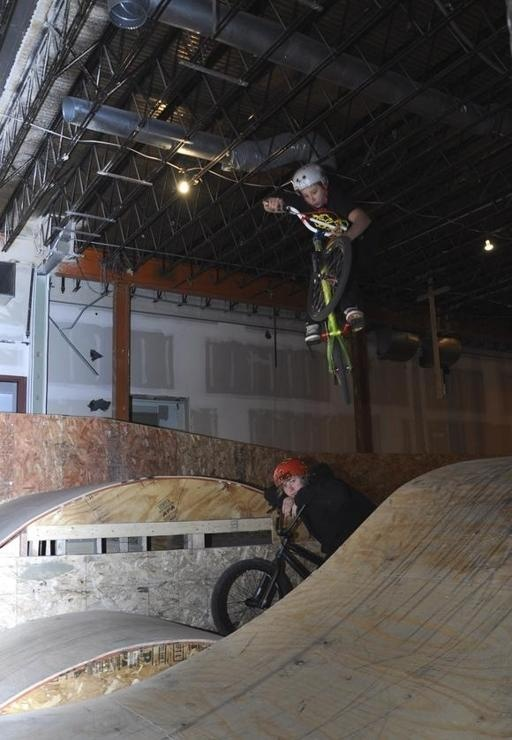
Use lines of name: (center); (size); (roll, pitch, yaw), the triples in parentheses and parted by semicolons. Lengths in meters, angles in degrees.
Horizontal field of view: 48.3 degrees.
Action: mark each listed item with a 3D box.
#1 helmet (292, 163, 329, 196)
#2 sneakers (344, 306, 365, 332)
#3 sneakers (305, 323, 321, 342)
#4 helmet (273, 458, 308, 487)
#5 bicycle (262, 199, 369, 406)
helmet: (0.485, -1.717, 5.126); (0.223, 0.240, 0.279); (-10, 27, 26)
sneakers: (0.873, -0.453, 4.957); (0.188, 0.181, 0.186); (9, -27, -18)
sneakers: (0.547, -0.338, 5.206); (0.124, 0.155, 0.169); (1, 0, -12)
helmet: (0.237, 0.722, 4.102); (0.230, 0.187, 0.165); (12, -32, -3)
bicycle: (0.651, -0.662, 5.231); (0.826, 1.790, 1.088); (-18, -14, 42)
